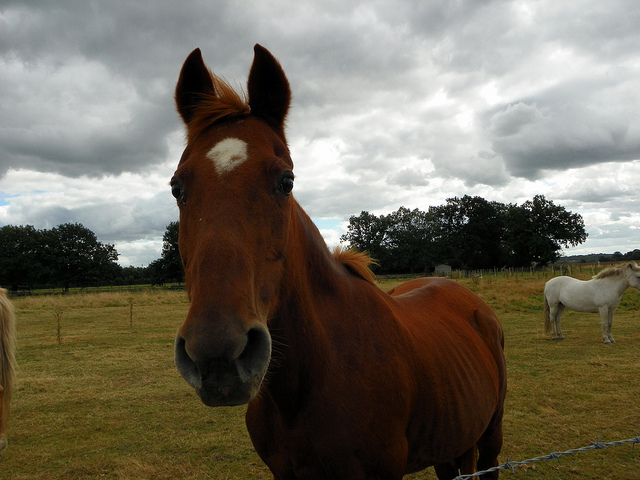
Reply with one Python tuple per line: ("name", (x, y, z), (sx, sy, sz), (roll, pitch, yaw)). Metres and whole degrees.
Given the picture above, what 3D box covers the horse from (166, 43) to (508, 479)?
("horse", (0.149, 0.309, 5.111), (3.267, 4.557, 0.963), (-1, 1, -21))
